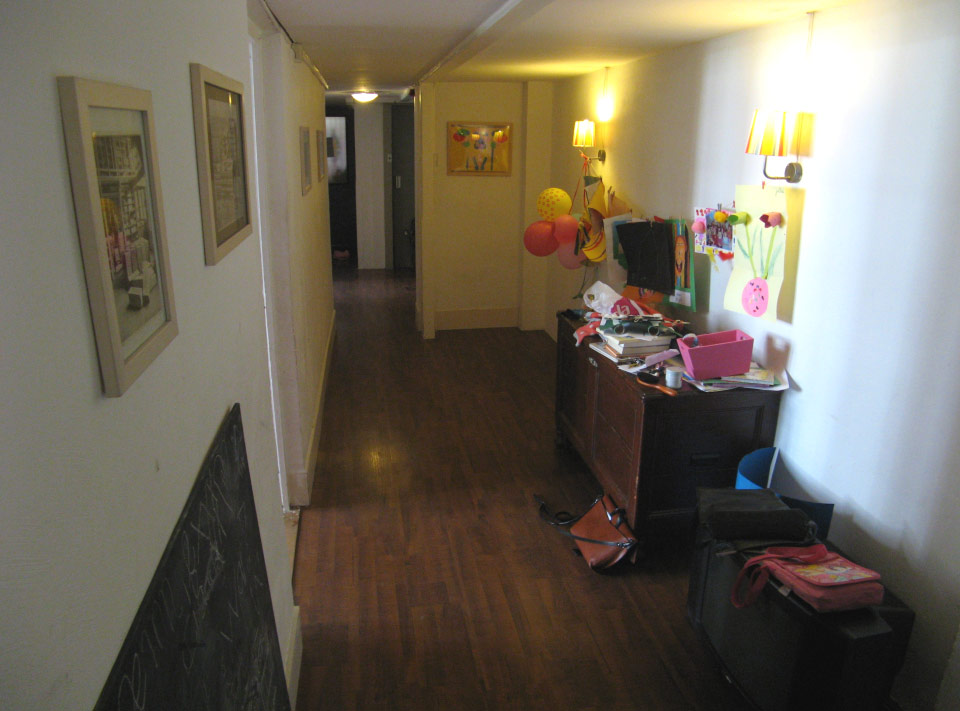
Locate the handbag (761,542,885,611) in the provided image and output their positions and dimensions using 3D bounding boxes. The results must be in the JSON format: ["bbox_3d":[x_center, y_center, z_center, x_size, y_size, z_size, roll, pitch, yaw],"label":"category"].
[{"bbox_3d":[1.150,0.762,2.483,0.345,0.115,0.300,-3,18,-8],"label":"handbag"}]

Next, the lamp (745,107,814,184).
[{"bbox_3d":[1.272,-0.869,3.031,0.249,0.306,0.271,8,16,25],"label":"lamp"}]

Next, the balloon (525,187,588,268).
[{"bbox_3d":[0.620,-0.967,5.474,0.522,0.546,0.307,14,22,40],"label":"balloon"}]

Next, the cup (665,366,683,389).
[{"bbox_3d":[0.888,0.098,3.286,0.078,0.086,0.084,-1,17,0],"label":"cup"}]

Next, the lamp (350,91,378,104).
[{"bbox_3d":[-1.295,-2.760,7.714,0.327,0.133,0.354,7,25,15],"label":"lamp"}]

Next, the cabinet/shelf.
[{"bbox_3d":[0.796,0.359,3.696,0.569,0.730,1.264,-9,19,-27],"label":"cabinet/shelf"}]

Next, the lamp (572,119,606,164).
[{"bbox_3d":[0.823,-1.576,5.392,0.230,0.380,0.184,-2,13,-3],"label":"lamp"}]

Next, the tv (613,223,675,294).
[{"bbox_3d":[0.929,-0.551,4.116,0.095,0.404,0.385,-25,30,-32],"label":"tv"}]
